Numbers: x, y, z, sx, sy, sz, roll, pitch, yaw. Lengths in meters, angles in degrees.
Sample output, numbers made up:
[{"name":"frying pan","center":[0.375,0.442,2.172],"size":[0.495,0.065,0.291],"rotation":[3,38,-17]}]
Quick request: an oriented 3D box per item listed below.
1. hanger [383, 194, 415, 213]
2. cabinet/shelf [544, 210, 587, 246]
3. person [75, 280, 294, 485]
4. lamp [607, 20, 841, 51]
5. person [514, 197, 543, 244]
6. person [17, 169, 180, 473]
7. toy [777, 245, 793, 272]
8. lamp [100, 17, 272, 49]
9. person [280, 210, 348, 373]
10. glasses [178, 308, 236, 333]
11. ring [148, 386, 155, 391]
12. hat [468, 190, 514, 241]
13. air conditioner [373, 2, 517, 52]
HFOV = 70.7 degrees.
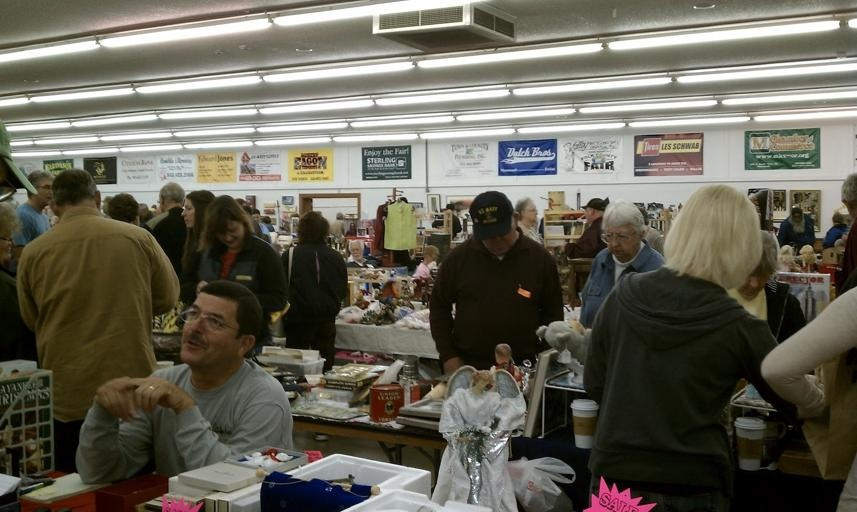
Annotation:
[{"name":"hanger","center":[-0.572,-0.998,12.138],"size":[0.488,0.216,0.608],"rotation":[-1,2,-2]},{"name":"cabinet/shelf","center":[2.191,-0.436,9.694],"size":[0.800,0.658,0.540],"rotation":[-1,-1,6]},{"name":"person","center":[-1.221,0.657,3.136],"size":[1.012,1.036,0.457],"rotation":[2,5,-4]},{"name":"lamp","center":[4.289,-3.224,8.905],"size":[3.028,0.202,0.930],"rotation":[3,4,18]},{"name":"person","center":[1.367,-0.506,8.589],"size":[0.392,0.679,0.821],"rotation":[0,18,20]},{"name":"person","center":[-2.365,0.710,4.323],"size":[0.904,2.512,0.939],"rotation":[6,5,29]},{"name":"toy","center":[3.775,0.038,6.432],"size":[0.107,0.181,0.272],"rotation":[-32,21,48]},{"name":"lamp","center":[-3.552,-3.304,9.127],"size":[3.077,0.191,0.807],"rotation":[3,4,18]},{"name":"person","center":[-1.121,0.341,5.995],"size":[0.608,1.543,0.565],"rotation":[2,5,-1]},{"name":"glasses","center":[-1.166,0.326,3.177],"size":[0.354,0.130,0.128],"rotation":[4,5,25]},{"name":"ring","center":[-1.330,0.647,2.939],"size":[0.023,0.005,0.021],"rotation":[-1,22,0]},{"name":"hat","center":[0.457,-0.274,4.328],"size":[0.278,0.190,0.370],"rotation":[-8,34,20]},{"name":"air conditioner","center":[0.215,-2.919,7.624],"size":[1.730,0.437,0.878],"rotation":[2,4,3]}]
